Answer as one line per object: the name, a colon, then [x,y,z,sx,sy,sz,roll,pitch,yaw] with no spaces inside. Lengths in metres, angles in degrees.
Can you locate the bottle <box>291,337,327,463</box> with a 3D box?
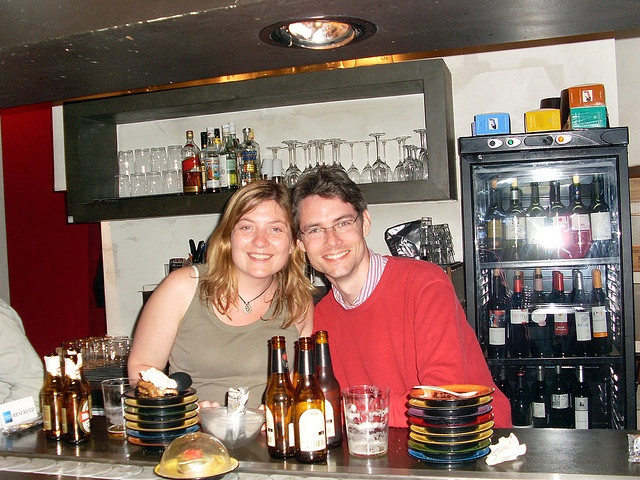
bottle: [-0.030,0.421,1.469,0.088,0.331,0.105,-3,0,-1]

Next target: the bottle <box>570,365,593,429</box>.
bottle: [1.477,0.895,3.148,0.097,0.351,0.132,-3,0,35]

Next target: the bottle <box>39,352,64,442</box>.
bottle: [-0.817,0.470,1.673,0.047,0.262,0.162,-3,0,-42]

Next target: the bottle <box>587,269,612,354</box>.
bottle: [1.584,0.408,3.139,0.094,0.471,0.239,-3,0,26]

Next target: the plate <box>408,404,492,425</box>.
plate: [0.338,0.467,1.464,0.220,0.055,0.102,-2,0,15]

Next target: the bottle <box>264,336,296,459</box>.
bottle: [-0.112,0.424,1.517,0.084,0.333,0.129,-3,0,-6]

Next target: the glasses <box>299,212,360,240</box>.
glasses: [0.036,-0.045,2.028,0.216,0.083,0.074,-2,0,3]

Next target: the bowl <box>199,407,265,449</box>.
bowl: [-0.249,0.536,1.573,0.186,0.116,0.086,-3,0,-7]

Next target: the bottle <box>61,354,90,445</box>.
bottle: [-0.721,0.461,1.630,0.077,0.282,0.061,-3,0,-22]

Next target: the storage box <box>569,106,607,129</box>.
storage box: [1.422,-0.655,2.929,0.149,0.129,0.076,0,-5,10]

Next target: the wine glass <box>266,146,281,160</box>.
wine glass: [-0.287,-0.552,3.445,0.107,0.101,0.104,2,-1,3]

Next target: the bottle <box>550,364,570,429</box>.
bottle: [1.382,0.927,3.188,0.111,0.334,0.067,-3,0,-18]

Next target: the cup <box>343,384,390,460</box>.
cup: [0.129,0.488,1.493,0.126,0.189,0.102,-3,0,-7]

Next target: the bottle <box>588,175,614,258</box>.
bottle: [1.603,-0.144,3.181,0.116,0.455,0.097,-3,0,25]

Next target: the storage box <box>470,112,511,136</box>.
storage box: [0.944,-0.644,3.065,0.197,0.127,0.174,-3,0,15]
